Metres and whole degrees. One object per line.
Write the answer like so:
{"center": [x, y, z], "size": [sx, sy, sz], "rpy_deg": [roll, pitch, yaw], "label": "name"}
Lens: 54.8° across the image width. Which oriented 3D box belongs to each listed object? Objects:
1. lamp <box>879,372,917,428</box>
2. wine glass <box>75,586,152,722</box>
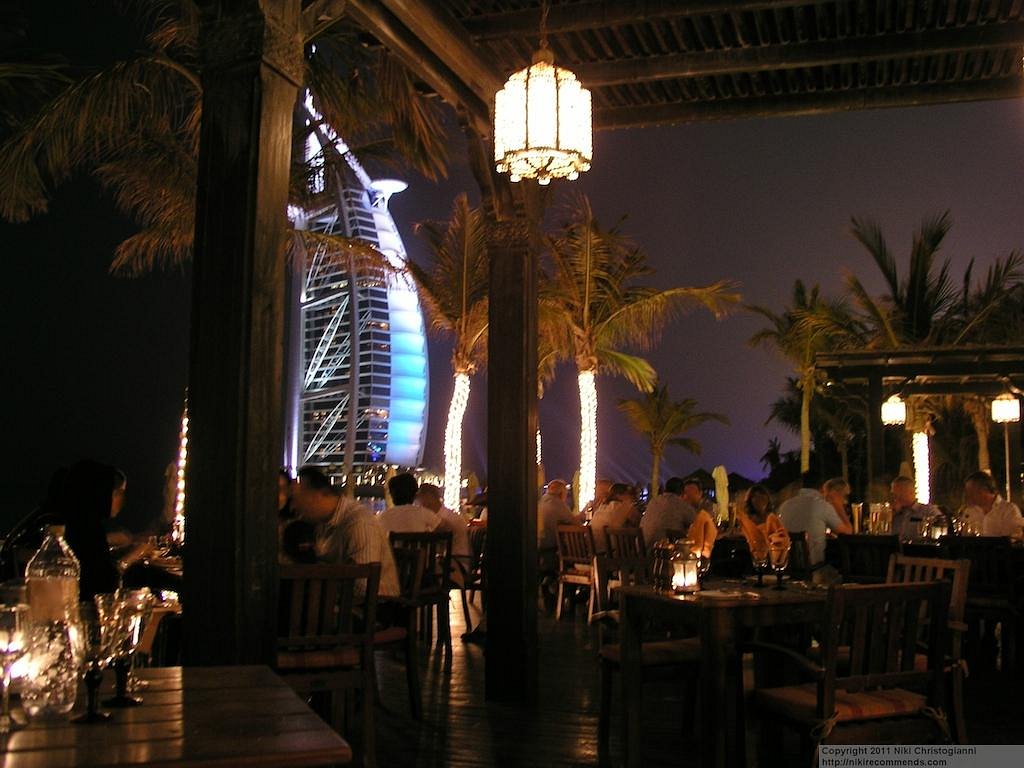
{"center": [6.414, 0.240, 16.454], "size": [0.749, 0.968, 0.817], "rpy_deg": [-1, -14, 23], "label": "lamp"}
{"center": [-1.607, 1.082, 3.971], "size": [0.259, 0.492, 0.388], "rpy_deg": [6, -13, -25], "label": "wine glass"}
